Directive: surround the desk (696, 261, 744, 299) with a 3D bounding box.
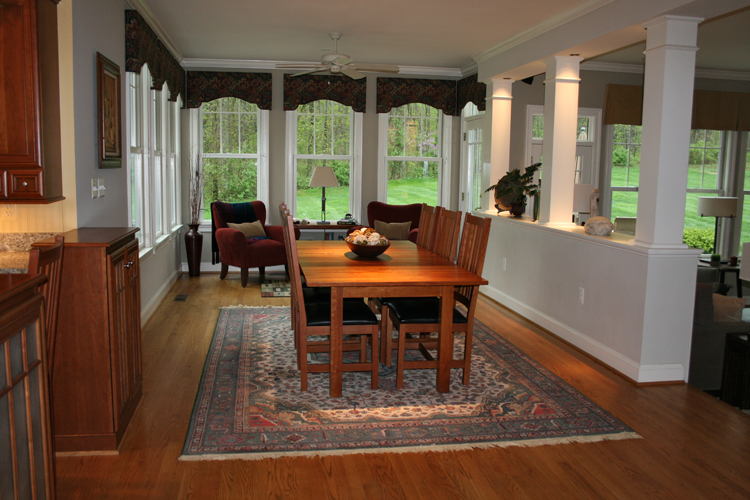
[{"bbox_3d":[4.022,0.337,5.862,0.348,0.416,0.453,1,9,8],"label":"desk"}]

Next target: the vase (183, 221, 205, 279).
[{"bbox_3d":[-2.762,-0.004,7.644,0.242,0.862,0.350,-5,16,-20],"label":"vase"}]

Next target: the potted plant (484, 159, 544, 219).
[{"bbox_3d":[1.834,-0.763,6.360,0.330,0.706,0.729,-10,18,-36],"label":"potted plant"}]

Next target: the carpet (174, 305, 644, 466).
[{"bbox_3d":[0.074,1.161,4.995,3.432,0.032,3.737,-2,3,-10],"label":"carpet"}]

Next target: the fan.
[{"bbox_3d":[-0.376,-2.438,6.358,1.311,0.542,1.820,1,14,2],"label":"fan"}]

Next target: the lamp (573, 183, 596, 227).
[{"bbox_3d":[3.269,-0.740,7.851,0.523,0.599,0.201,-7,17,-28],"label":"lamp"}]

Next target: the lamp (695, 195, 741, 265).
[{"bbox_3d":[5.028,-0.317,7.356,0.586,0.825,0.560,4,-1,-23],"label":"lamp"}]
